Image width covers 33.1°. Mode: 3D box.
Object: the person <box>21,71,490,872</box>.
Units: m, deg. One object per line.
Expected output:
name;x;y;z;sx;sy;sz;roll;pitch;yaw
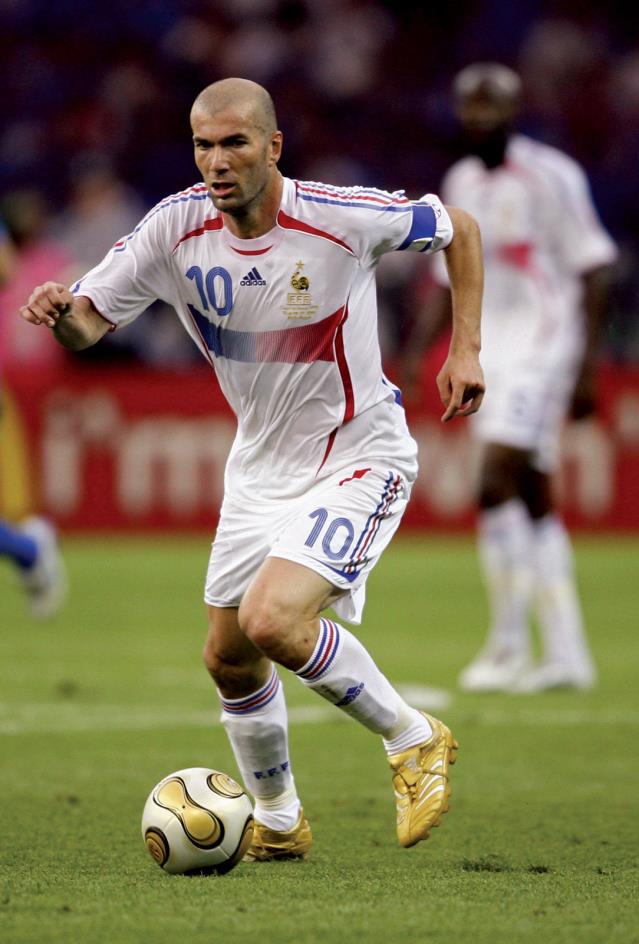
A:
person;-0.106;0.052;2.636;1.130;1.859;1.051;-1;-8;16

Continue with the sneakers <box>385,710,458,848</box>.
sneakers;0.270;0.742;2.598;0.129;0.166;0.339;-33;28;33

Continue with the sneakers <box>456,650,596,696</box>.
sneakers;0.966;0.934;4.919;0.637;0.235;0.215;-14;-14;38

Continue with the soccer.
soccer;-0.275;0.803;2.435;0.245;0.198;0.237;-4;14;-8

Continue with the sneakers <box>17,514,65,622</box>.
sneakers;-0.786;0.270;3.068;0.156;0.239;0.112;4;9;42

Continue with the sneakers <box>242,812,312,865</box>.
sneakers;-0.099;0.915;2.672;0.248;0.088;0.094;-2;56;3
